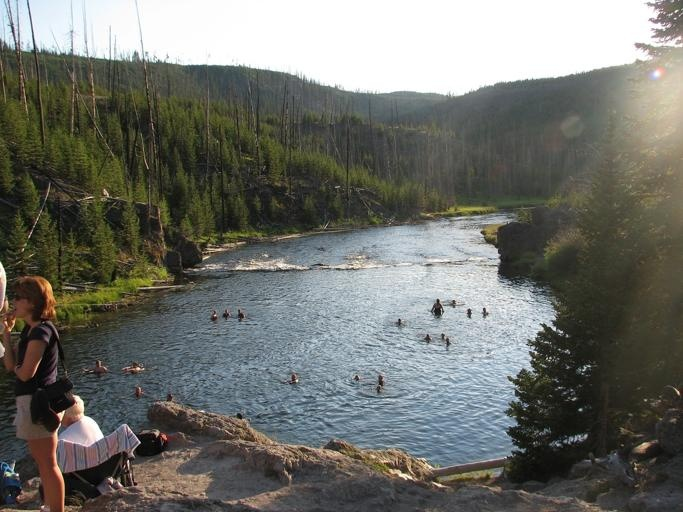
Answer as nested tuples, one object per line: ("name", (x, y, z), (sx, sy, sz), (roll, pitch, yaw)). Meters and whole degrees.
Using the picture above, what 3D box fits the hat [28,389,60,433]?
("hat", (-7.926, 4.108, 15.793), (0.701, 1.200, 0.215), (-2, 10, -13))

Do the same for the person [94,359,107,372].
("person", (-13.724, 6.092, 33.747), (0.626, 0.672, 1.447), (-4, 10, -22))

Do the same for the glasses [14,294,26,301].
("glasses", (-8.542, 1.095, 15.687), (0.175, 0.100, 0.178), (1, -16, -7))

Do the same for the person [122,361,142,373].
("person", (-11.862, 6.292, 33.639), (1.218, 0.384, 0.953), (0, 9, 0))

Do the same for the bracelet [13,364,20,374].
("bracelet", (-8.593, 2.961, 15.622), (0.066, 0.247, 0.178), (6, 2, 6))
